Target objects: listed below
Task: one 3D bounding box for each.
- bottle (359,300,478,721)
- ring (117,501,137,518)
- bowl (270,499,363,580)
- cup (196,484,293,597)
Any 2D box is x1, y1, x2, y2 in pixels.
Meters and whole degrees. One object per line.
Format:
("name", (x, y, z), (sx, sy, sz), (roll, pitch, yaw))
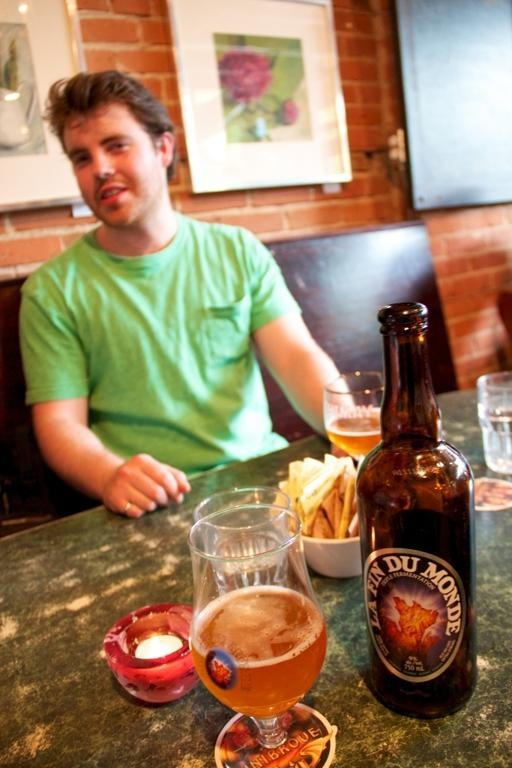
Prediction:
("bottle", (0.109, 0.084, 0.410), (0.081, 0.283, 0.110), (-4, 11, 19))
("ring", (-0.178, 0.174, 0.809), (0.022, 0.008, 0.017), (2, 28, 45))
("bowl", (0.057, 0.141, 0.610), (0.099, 0.051, 0.100), (2, 2, 0))
("cup", (-0.008, 0.113, 0.412), (0.055, 0.041, 0.054), (-2, 2, 0))
